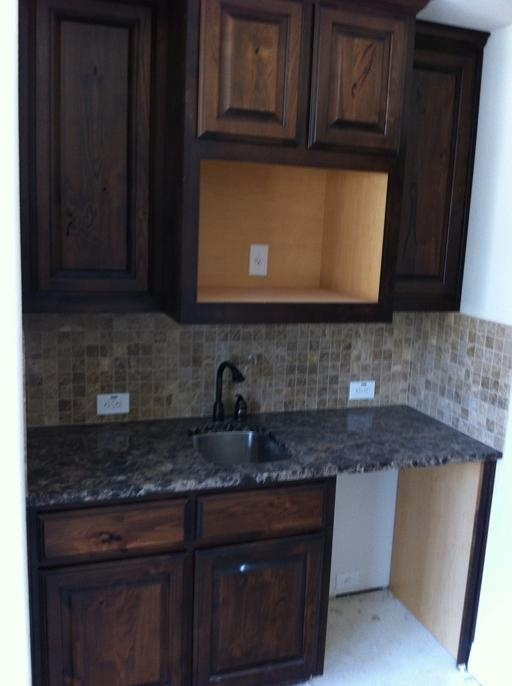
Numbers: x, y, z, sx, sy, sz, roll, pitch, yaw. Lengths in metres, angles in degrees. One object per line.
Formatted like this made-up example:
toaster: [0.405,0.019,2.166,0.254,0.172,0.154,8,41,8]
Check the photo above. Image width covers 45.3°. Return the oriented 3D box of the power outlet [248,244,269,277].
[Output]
power outlet: [0.006,-0.312,2.278,0.068,0.174,0.013,-3,9,-28]

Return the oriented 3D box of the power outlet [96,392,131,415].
power outlet: [-0.487,0.209,2.100,0.112,0.079,0.009,-2,8,-26]

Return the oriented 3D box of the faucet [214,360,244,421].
faucet: [-0.097,0.172,2.128,0.107,0.232,0.304,1,11,-3]
